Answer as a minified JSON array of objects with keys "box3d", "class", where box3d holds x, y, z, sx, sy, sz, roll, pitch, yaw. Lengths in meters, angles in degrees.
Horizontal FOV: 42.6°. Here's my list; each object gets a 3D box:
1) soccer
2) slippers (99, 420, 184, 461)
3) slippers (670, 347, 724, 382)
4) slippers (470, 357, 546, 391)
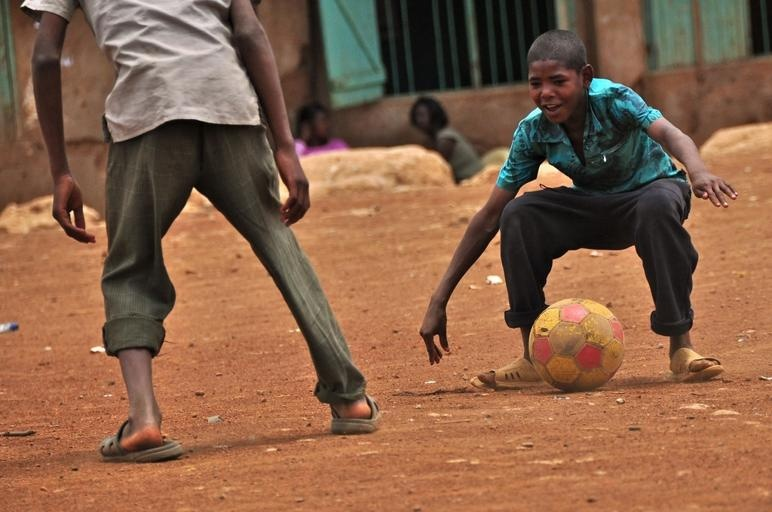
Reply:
[{"box3d":[1.011,0.474,5.634,0.578,0.523,0.507,-7,1,5],"class":"soccer"},{"box3d":[-1.176,0.899,4.818,0.424,0.153,0.179,-1,-2,27],"class":"slippers"},{"box3d":[1.750,0.615,5.554,0.144,0.126,0.309,-2,-3,-23],"class":"slippers"},{"box3d":[0.714,0.709,5.782,0.433,0.131,0.164,1,-5,-18],"class":"slippers"}]
